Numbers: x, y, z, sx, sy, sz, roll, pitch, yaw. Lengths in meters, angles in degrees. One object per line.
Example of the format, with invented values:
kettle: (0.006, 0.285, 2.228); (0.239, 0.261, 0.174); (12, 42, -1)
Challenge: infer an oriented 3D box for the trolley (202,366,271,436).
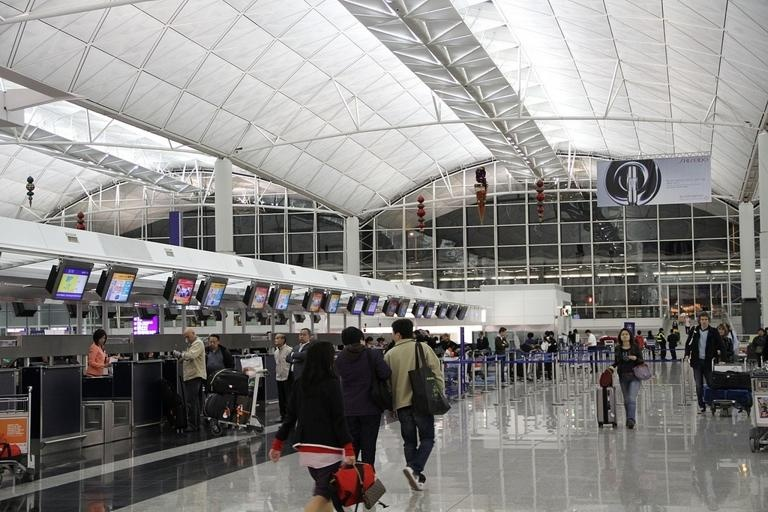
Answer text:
trolley: (-3.142, 3.369, 14.564); (1.999, 1.526, 1.402); (-1, -6, 16)

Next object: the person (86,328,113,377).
person: (-6.687, 2.294, 14.551); (0.490, 1.076, 2.598); (4, -11, -23)

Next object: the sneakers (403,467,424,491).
sneakers: (0.407, 3.125, 8.697); (0.231, 0.475, 0.164); (-21, 31, 2)

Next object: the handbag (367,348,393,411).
handbag: (-0.067, 1.664, 8.283); (0.294, 0.843, 0.501); (-2, -11, 5)

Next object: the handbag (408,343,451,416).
handbag: (0.605, 1.723, 8.668); (0.530, 1.016, 0.260); (-1, -12, 0)

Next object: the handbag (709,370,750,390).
handbag: (7.871, 2.844, 14.178); (0.672, 0.223, 0.490); (0, -2, 33)

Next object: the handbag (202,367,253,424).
handbag: (-3.569, 3.269, 14.125); (1.377, 1.299, 1.189); (1, -6, -8)

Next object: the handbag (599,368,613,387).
handbag: (4.652, 2.608, 13.093); (0.341, 0.399, 0.120); (3, 6, 24)
